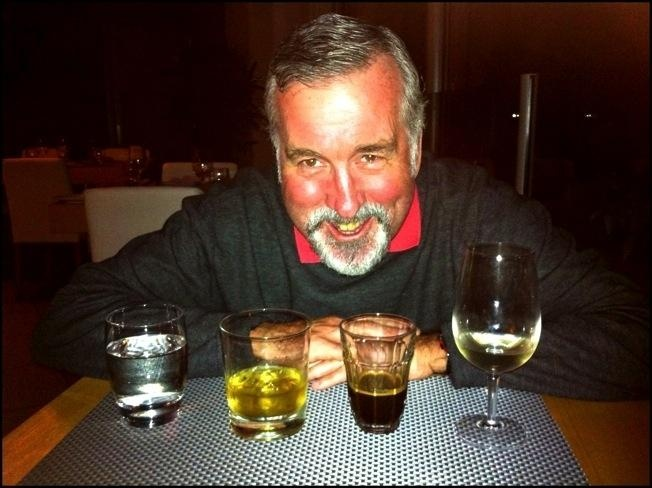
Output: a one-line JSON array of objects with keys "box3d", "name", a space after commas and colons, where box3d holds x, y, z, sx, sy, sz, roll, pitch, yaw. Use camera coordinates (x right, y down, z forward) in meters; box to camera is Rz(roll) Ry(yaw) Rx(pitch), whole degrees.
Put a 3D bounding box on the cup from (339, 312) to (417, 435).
[{"box3d": [0.071, 0.238, 1.105, 0.220, 0.257, 0.208, -3, 13, 1], "name": "cup"}]
